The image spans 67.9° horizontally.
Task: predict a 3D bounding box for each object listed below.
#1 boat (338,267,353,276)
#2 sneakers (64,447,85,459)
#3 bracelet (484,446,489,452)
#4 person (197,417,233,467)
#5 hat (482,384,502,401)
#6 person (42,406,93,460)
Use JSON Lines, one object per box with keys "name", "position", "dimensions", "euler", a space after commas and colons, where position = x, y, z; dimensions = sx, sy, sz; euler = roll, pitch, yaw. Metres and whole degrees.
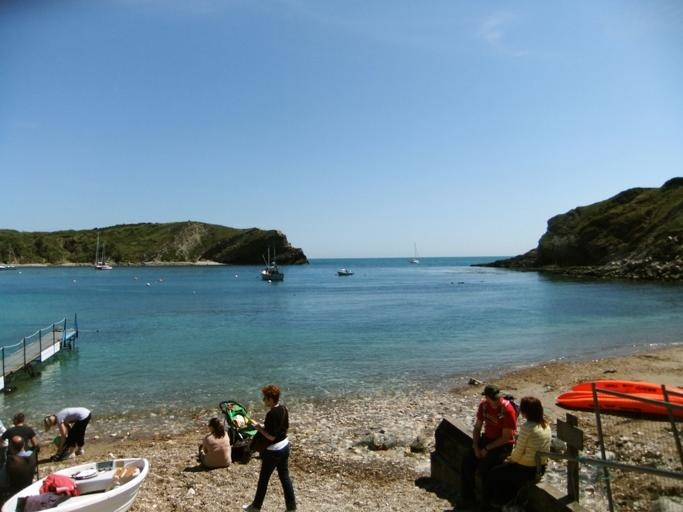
{"name": "boat", "position": [1.523, 5.745, 168.720], "dimensions": [2.282, 2.240, 6.883], "euler": [2, 4, 20]}
{"name": "sneakers", "position": [-8.432, 6.196, 16.009], "dimensions": [0.601, 0.223, 0.208], "euler": [10, -12, -39]}
{"name": "bracelet", "position": [3.368, 4.460, 11.784], "dimensions": [0.158, 0.034, 0.148], "euler": [-2, -5, 11]}
{"name": "person", "position": [-3.729, 5.442, 14.906], "dimensions": [0.913, 1.394, 0.602], "euler": [-2, -3, -14]}
{"name": "hat", "position": [3.460, 3.155, 11.822], "dimensions": [0.347, 0.204, 0.422], "euler": [-8, -3, -37]}
{"name": "person", "position": [-8.487, 5.515, 15.804], "dimensions": [0.948, 1.568, 0.997], "euler": [0, -4, -44]}
